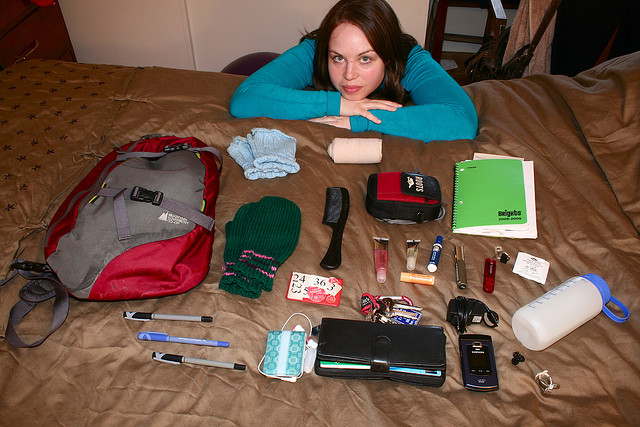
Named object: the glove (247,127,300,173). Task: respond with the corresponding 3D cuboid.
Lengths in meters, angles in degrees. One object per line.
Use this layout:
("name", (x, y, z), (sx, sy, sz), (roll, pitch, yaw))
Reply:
("glove", (-0.211, -0.286, 2.139), (0.208, 0.078, 0.215), (4, 52, -12))

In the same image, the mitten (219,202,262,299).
("mitten", (-0.277, 0.102, 1.908), (0.235, 0.078, 0.421), (-3, 52, 20))

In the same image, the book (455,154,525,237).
("book", (0.701, -0.063, 1.980), (0.312, 0.052, 0.423), (3, 60, 11))

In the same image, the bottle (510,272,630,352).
("bottle", (0.903, 0.363, 1.723), (0.319, 0.148, 0.166), (-23, 87, -22))
